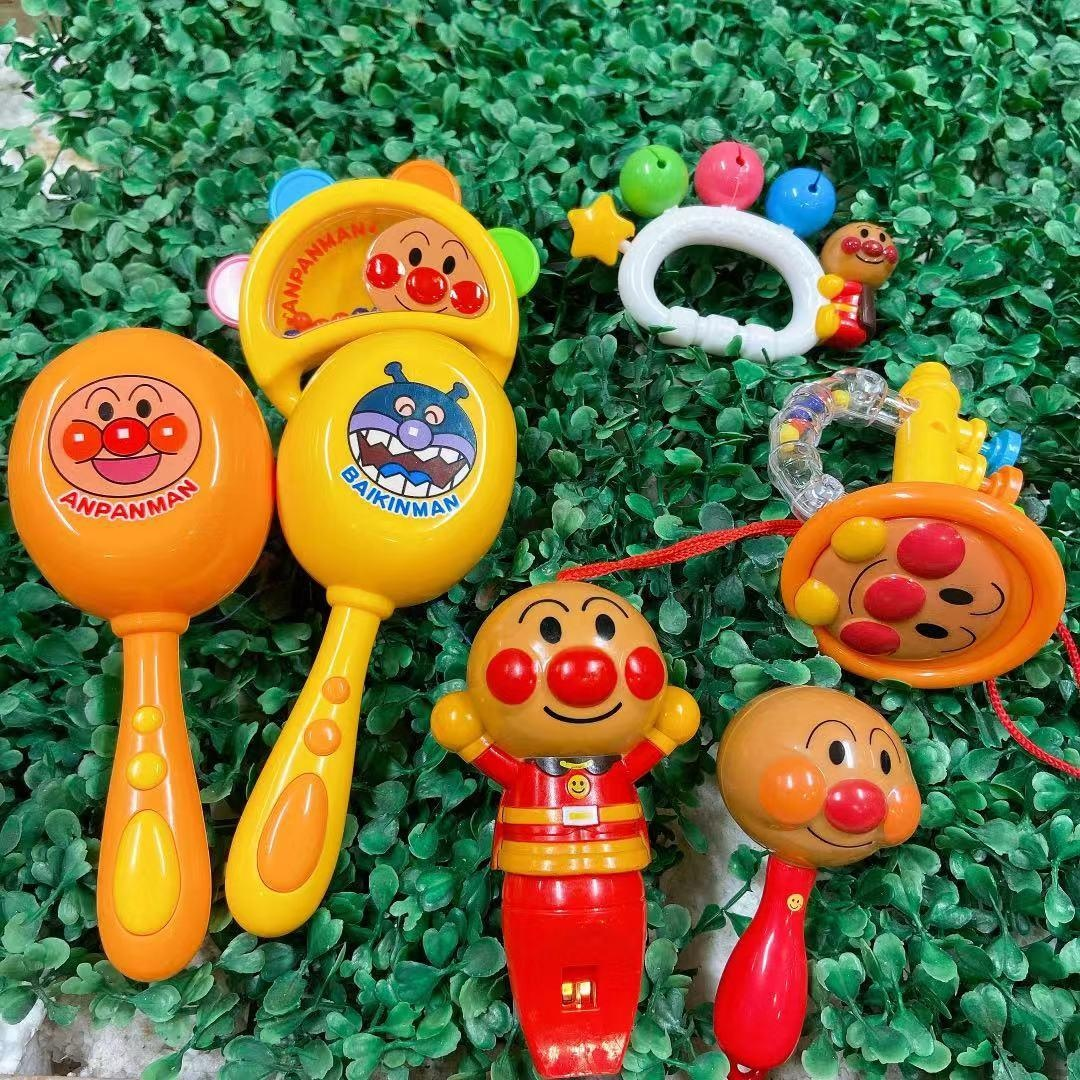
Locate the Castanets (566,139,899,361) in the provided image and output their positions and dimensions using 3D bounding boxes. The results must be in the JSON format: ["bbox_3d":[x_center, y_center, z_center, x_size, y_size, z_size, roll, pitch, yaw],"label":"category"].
[{"bbox_3d":[0.184,-0.280,1.243,0.320,0.091,0.204,13,70,0],"label":"Castanets"}]

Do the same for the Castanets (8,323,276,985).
[{"bbox_3d":[-0.325,0.078,1.042,0.244,0.138,0.496,-3,88,-17],"label":"Castanets"}]

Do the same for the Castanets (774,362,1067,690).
[{"bbox_3d":[0.327,0.016,1.126,0.262,0.151,0.283,1,57,6],"label":"Castanets"}]
